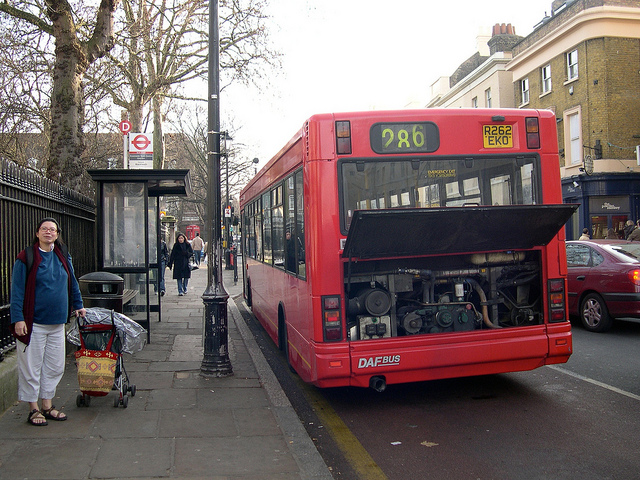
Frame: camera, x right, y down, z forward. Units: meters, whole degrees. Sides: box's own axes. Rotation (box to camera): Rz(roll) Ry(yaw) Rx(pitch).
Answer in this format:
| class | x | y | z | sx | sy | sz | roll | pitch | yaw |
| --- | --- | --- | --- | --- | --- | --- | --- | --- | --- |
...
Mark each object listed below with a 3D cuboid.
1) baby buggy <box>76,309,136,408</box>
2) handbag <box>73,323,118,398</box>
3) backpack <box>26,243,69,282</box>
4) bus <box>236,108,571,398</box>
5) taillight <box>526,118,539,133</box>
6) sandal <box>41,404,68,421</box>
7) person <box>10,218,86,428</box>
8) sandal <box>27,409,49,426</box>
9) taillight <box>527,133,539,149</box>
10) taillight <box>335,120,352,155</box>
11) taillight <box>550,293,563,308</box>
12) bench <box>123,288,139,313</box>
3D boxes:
| class | x | y | z | sx | sy | sz | roll | pitch | yaw |
| --- | --- | --- | --- | --- | --- | --- | --- | --- | --- |
| baby buggy | -2.728 | 1.440 | 8.013 | 0.622 | 1.259 | 0.728 | 0 | -1 | -13 |
| handbag | -2.841 | 1.524 | 7.868 | 0.554 | 0.891 | 0.478 | 0 | -10 | -2 |
| backpack | -3.192 | 0.247 | 7.291 | 0.421 | 0.432 | 0.317 | -5 | 1 | -5 |
| bus | 0.355 | 0.001 | 12.586 | 3.516 | 4.064 | 10.569 | -3 | 2 | -12 |
| taillight | 2.762 | -1.499 | 8.042 | 0.178 | 0.262 | 0.080 | 0 | -1 | 3 |
| sandal | -3.154 | 2.052 | 7.344 | 0.338 | 0.157 | 0.131 | 3 | 3 | 15 |
| person | -3.200 | 0.934 | 7.279 | 0.483 | 2.334 | 0.759 | 5 | 7 | 41 |
| sandal | -3.208 | 2.031 | 7.056 | 0.105 | 0.137 | 0.315 | 7 | -9 | -36 |
| taillight | 2.783 | -1.298 | 8.046 | 0.180 | 0.180 | 0.047 | 6 | 2 | -9 |
| taillight | 0.296 | -1.265 | 7.588 | 0.219 | 0.459 | 0.031 | -2 | -9 | -1 |
| taillight | 3.101 | 0.782 | 8.101 | 0.170 | 0.169 | 0.082 | 1 | -7 | -10 |
| bench | -3.695 | 1.219 | 12.140 | 0.286 | 0.553 | 0.936 | -2 | 6 | -17 |
